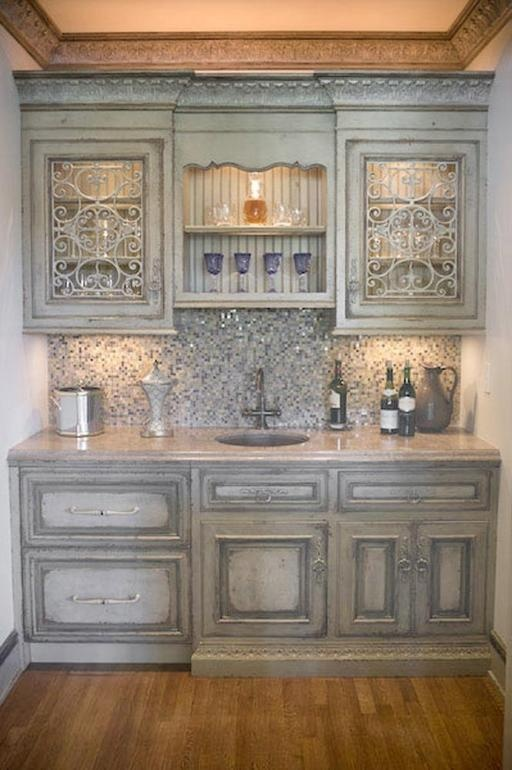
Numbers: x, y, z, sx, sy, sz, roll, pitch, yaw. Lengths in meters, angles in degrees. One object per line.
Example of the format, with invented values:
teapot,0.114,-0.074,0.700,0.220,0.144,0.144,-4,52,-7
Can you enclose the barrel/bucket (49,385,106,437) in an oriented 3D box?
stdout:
barrel/bucket,-0.765,0.116,3.318,0.202,0.201,0.263,9,10,43

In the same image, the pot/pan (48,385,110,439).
pot/pan,-0.760,0.114,3.318,0.202,0.202,0.257,8,10,41

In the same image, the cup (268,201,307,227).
cup,0.133,-0.705,3.263,0.125,0.090,0.129,2,5,0

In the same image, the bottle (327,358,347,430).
bottle,0.362,0.044,3.464,0.084,0.305,0.175,1,13,5

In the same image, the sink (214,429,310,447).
sink,0.025,0.247,3.365,0.391,0.099,0.216,0,13,1

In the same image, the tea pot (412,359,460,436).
tea pot,0.760,0.060,3.336,0.197,0.281,0.175,-3,4,22

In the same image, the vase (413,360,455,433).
vase,0.770,0.058,3.323,0.191,0.270,0.169,3,10,31

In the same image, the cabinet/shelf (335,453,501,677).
cabinet/shelf,0.601,0.716,3.162,0.635,0.792,0.420,1,-6,-2

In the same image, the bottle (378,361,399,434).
bottle,0.578,0.051,3.365,0.078,0.286,0.214,2,13,8

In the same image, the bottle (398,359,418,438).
bottle,0.635,0.069,3.269,0.066,0.278,0.141,2,13,9

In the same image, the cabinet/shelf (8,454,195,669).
cabinet/shelf,-0.601,0.694,3.203,0.694,0.835,0.429,0,7,0

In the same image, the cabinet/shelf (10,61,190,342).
cabinet/shelf,-0.680,-0.649,3.252,0.562,0.832,0.290,-1,-3,-15

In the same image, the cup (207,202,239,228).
cup,-0.150,-0.709,3.340,0.138,0.132,0.136,1,8,0
